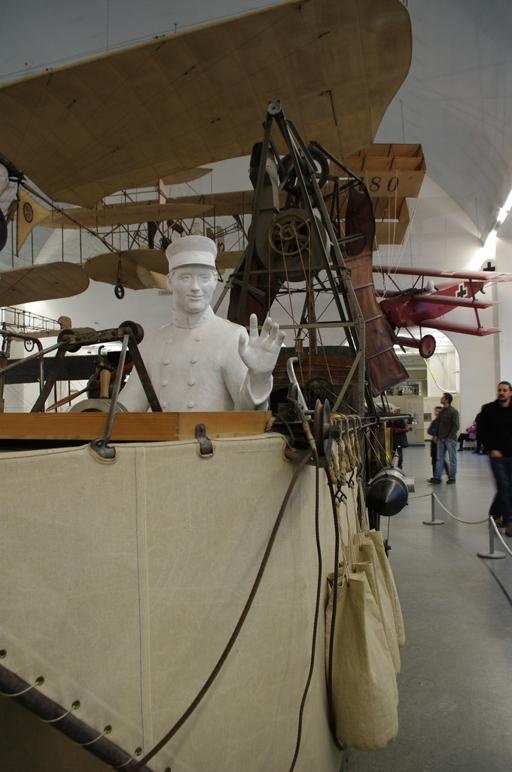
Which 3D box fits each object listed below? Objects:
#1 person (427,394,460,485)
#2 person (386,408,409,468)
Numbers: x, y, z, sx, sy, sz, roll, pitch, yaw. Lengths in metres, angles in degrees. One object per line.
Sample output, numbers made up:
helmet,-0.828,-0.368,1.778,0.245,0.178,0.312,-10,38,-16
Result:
person,2.525,0.691,8.934,0.394,1.160,0.312,-2,-4,24
person,2.019,0.770,9.332,0.247,0.870,0.280,-15,16,-22
